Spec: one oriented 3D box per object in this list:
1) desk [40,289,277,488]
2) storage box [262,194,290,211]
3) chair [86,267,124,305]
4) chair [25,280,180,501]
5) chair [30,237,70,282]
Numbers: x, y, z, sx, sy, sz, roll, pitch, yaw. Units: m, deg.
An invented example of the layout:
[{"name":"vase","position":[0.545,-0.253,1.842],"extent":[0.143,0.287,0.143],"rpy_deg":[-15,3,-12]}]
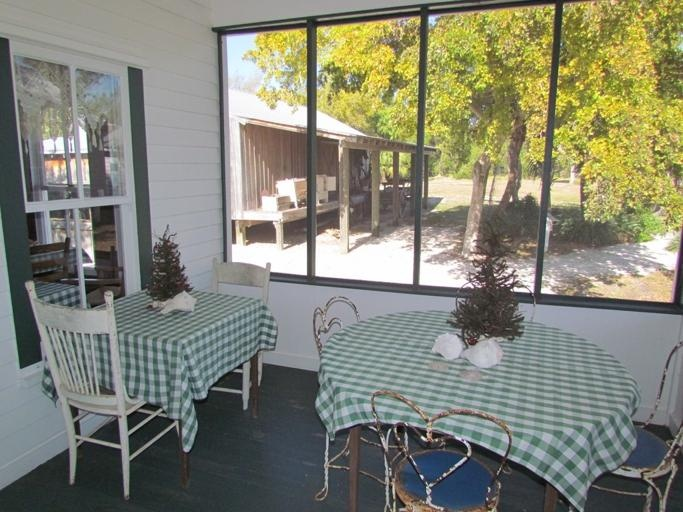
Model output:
[{"name":"desk","position":[-1.745,0.920,4.047],"extent":[0.722,1.540,0.913],"rpy_deg":[4,12,9]},{"name":"storage box","position":[-0.775,-0.642,6.214],"extent":[0.353,0.184,0.191],"rpy_deg":[-1,10,-11]},{"name":"chair","position":[-1.995,0.234,4.425],"extent":[0.248,0.394,0.269],"rpy_deg":[1,7,7]},{"name":"chair","position":[-1.799,0.921,3.841],"extent":[0.780,1.520,0.504],"rpy_deg":[5,11,25]},{"name":"chair","position":[-2.215,0.031,4.007],"extent":[0.248,0.214,0.263],"rpy_deg":[-2,9,7]}]
